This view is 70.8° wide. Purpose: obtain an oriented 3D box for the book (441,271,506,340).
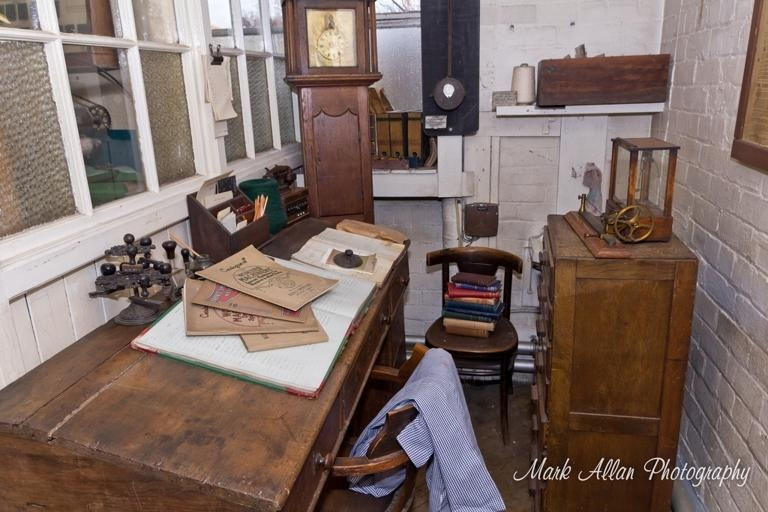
[{"bbox_3d":[0.534,0.264,3.211,0.376,0.351,0.349,5,29,17],"label":"book"}]
